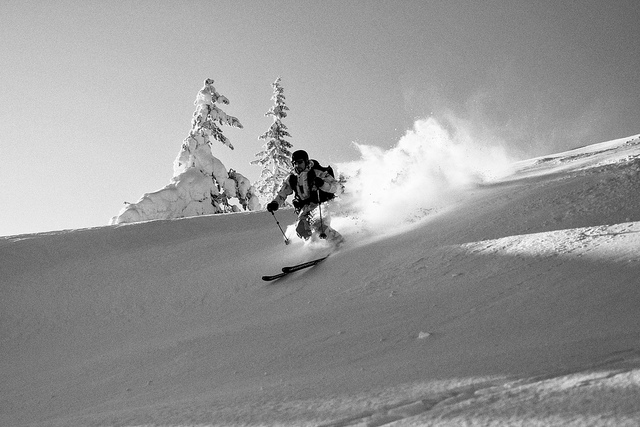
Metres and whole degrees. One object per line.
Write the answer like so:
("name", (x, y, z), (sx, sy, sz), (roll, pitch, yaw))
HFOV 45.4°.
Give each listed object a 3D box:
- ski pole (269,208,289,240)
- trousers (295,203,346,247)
("ski pole", (-0.787, 0.156, 14.615), (0.075, 0.594, 0.077), (-32, 15, 11))
("trousers", (-0.050, 0.243, 14.168), (0.755, 0.847, 1.043), (-24, -5, -2))
